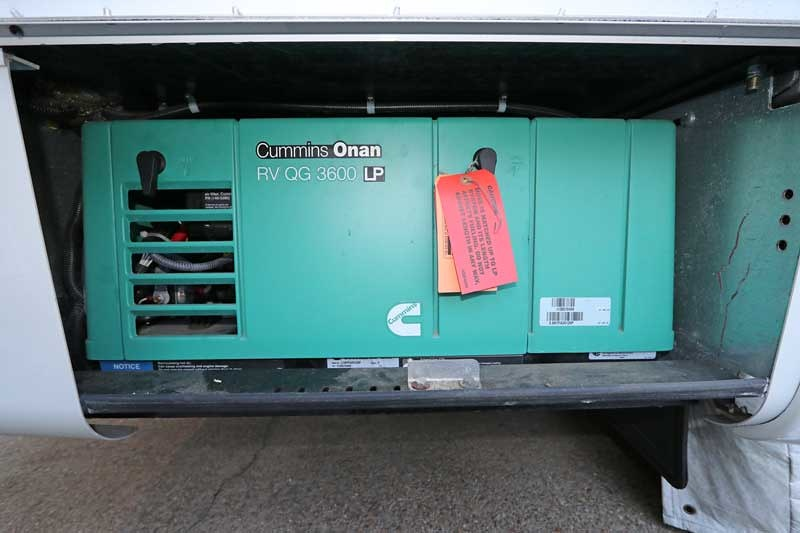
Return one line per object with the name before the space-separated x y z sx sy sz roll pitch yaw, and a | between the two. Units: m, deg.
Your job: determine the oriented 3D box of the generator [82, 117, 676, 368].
generator | -0.040 -0.101 2.561 2.208 0.869 0.638 0 7 0
